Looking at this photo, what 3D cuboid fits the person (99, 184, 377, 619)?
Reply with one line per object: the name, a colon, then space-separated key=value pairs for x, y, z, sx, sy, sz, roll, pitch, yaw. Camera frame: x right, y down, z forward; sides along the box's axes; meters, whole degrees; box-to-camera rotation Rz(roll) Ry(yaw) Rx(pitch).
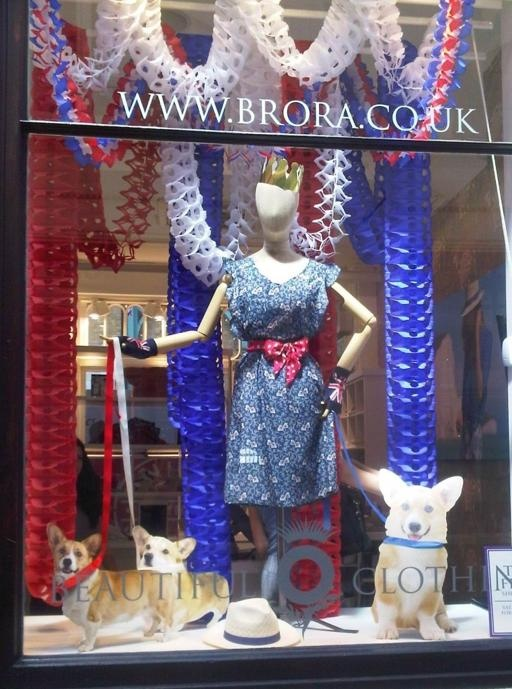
person: x=0.048 y=-0.014 z=3.416 sx=0.661 sy=0.959 sz=0.506 roll=21 pitch=28 yaw=29
